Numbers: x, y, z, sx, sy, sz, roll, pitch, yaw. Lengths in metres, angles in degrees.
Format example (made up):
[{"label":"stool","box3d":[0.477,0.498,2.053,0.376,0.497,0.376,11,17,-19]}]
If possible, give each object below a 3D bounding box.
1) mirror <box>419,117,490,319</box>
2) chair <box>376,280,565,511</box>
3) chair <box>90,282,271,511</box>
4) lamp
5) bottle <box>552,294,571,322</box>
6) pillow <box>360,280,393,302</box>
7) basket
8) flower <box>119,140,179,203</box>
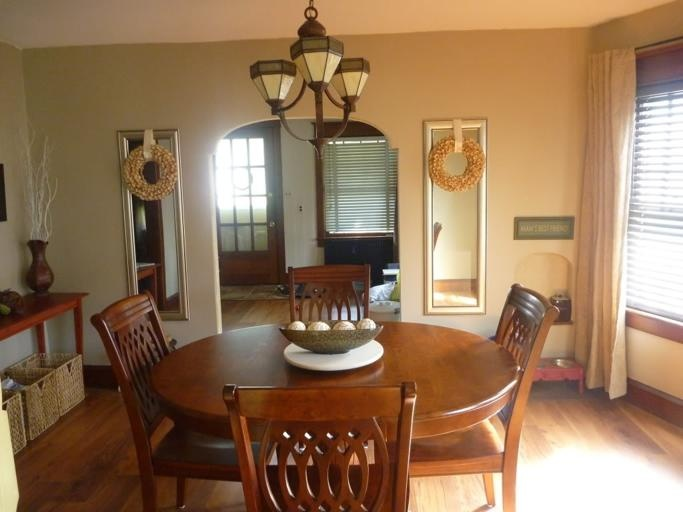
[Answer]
[{"label":"mirror","box3d":[0.916,-0.237,4.187,0.507,1.677,0.059,0,24,11]},{"label":"chair","box3d":[0.459,0.696,2.957,1.049,1.587,0.905,1,4,0]},{"label":"chair","box3d":[-1.073,0.641,3.111,1.045,1.560,0.899,0,5,3]},{"label":"lamp","box3d":[-0.147,-1.075,3.008,0.588,0.994,1.159,-1,11,3]},{"label":"bottle","box3d":[1.632,0.390,3.868,0.134,0.168,0.229,0,2,4]},{"label":"pillow","box3d":[0.366,0.359,5.333,0.193,0.100,0.332,-16,18,18]},{"label":"basket","box3d":[-2.295,1.026,3.790,0.414,0.412,0.830,0,11,8]},{"label":"flower","box3d":[-1.533,-0.638,4.172,0.406,0.462,0.136,2,-3,1]}]
